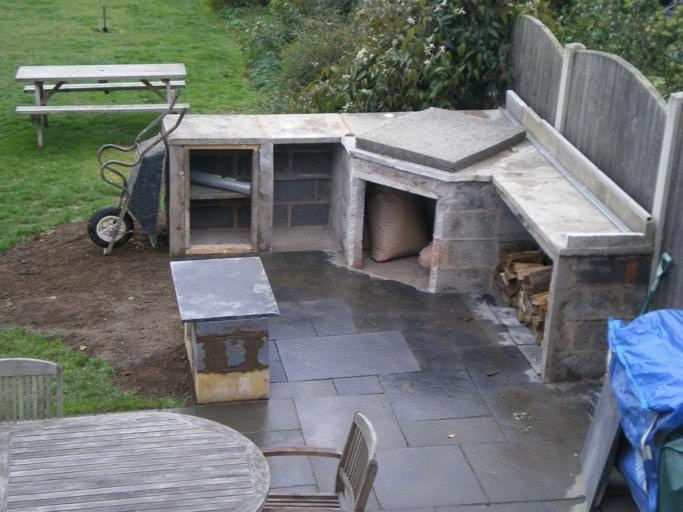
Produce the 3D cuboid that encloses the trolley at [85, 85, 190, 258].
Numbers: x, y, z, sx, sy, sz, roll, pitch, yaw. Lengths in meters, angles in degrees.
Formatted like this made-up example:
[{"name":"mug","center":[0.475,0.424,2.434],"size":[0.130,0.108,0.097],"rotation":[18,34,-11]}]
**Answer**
[{"name":"trolley","center":[-2.988,-1.286,9.873],"size":[1.440,1.968,2.463],"rotation":[-6,20,-13]}]
